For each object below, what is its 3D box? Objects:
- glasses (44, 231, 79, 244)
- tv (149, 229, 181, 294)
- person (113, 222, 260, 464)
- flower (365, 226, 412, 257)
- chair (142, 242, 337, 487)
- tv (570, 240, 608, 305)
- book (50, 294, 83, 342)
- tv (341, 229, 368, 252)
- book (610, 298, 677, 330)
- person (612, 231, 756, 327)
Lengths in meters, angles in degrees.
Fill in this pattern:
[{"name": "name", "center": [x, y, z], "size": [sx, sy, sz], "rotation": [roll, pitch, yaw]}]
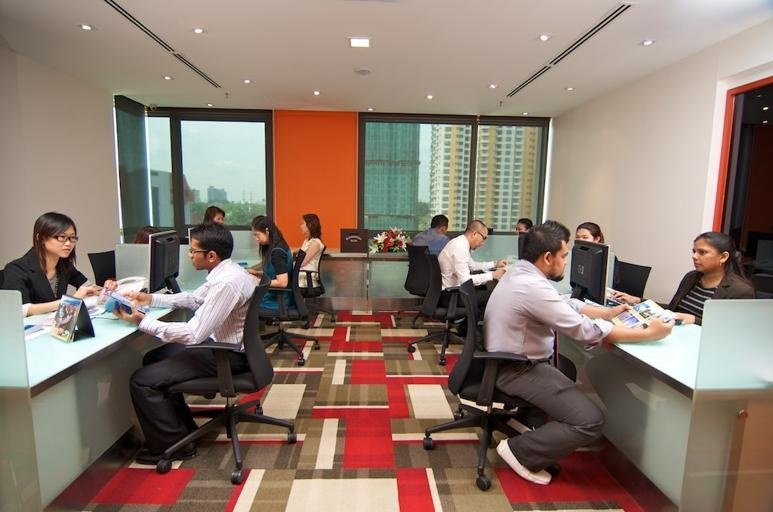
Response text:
[{"name": "glasses", "center": [-2.722, -0.143, 4.179], "size": [0.091, 0.100, 0.219], "rotation": [8, 13, 40]}, {"name": "tv", "center": [-2.014, 0.063, 4.472], "size": [0.217, 0.578, 0.598], "rotation": [3, 2, -1]}, {"name": "person", "center": [-1.694, 0.740, 4.144], "size": [1.224, 1.891, 0.843], "rotation": [2, 3, -2]}, {"name": "flower", "center": [-0.002, -0.205, 7.400], "size": [0.472, 0.329, 0.504], "rotation": [-1, 2, 29]}, {"name": "chair", "center": [-1.460, 0.882, 5.008], "size": [1.726, 2.270, 1.843], "rotation": [0, -1, -2]}, {"name": "tv", "center": [1.833, 0.160, 4.464], "size": [0.184, 0.528, 0.542], "rotation": [-4, 10, -10]}, {"name": "book", "center": [-2.392, 0.478, 3.692], "size": [0.284, 0.290, 0.110], "rotation": [18, 9, 36]}, {"name": "tv", "center": [-0.480, -0.213, 7.074], "size": [0.354, 0.249, 0.342], "rotation": [1, 7, 2]}, {"name": "book", "center": [2.056, 0.477, 3.954], "size": [0.293, 0.076, 0.295], "rotation": [-7, 17, 40]}, {"name": "person", "center": [2.694, 0.193, 4.753], "size": [0.869, 1.265, 0.814], "rotation": [6, 2, 9]}]
